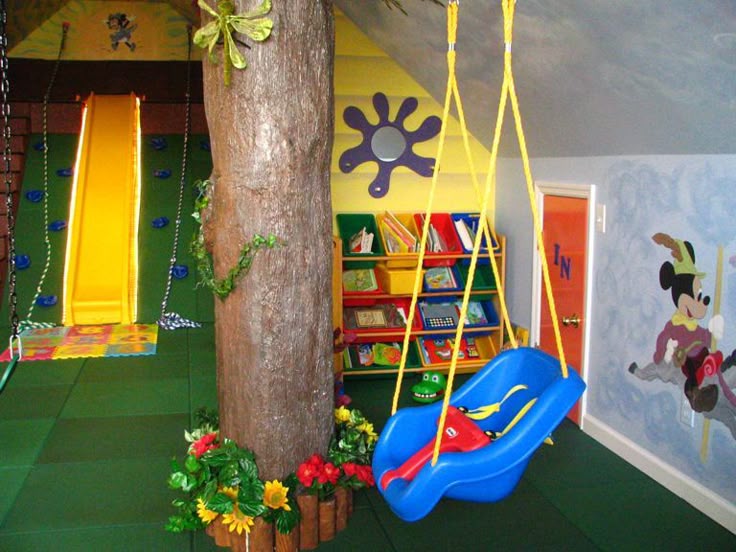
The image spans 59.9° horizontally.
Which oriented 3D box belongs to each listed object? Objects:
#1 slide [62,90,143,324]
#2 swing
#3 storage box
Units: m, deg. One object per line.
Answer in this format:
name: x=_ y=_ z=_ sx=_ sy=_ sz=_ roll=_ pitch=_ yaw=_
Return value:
slide: x=-2.998 y=-0.843 z=7.270 sx=0.815 sy=2.683 sz=1.291 roll=-1 pitch=4 yaw=-20
swing: x=0.746 y=0.458 z=3.981 sx=0.893 sy=3.812 sz=1.365 roll=1 pitch=13 yaw=-6
storage box: x=0.414 y=0.254 z=6.534 sx=1.673 sy=1.726 sz=0.525 roll=-1 pitch=11 yaw=-20
